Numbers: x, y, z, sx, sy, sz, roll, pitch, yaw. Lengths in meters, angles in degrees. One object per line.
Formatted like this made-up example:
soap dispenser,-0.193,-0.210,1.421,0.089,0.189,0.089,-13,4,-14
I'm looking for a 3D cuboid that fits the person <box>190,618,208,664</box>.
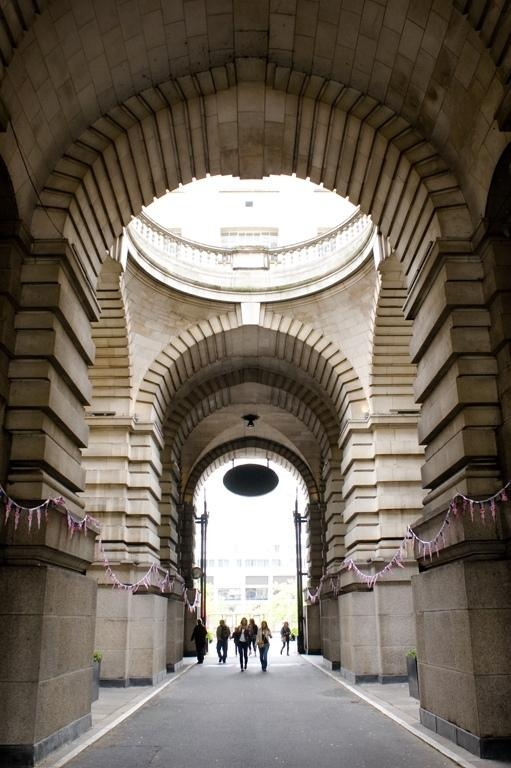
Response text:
person,-2.096,9.636,21.228,0.475,1.541,1.650,1,-22,-6
